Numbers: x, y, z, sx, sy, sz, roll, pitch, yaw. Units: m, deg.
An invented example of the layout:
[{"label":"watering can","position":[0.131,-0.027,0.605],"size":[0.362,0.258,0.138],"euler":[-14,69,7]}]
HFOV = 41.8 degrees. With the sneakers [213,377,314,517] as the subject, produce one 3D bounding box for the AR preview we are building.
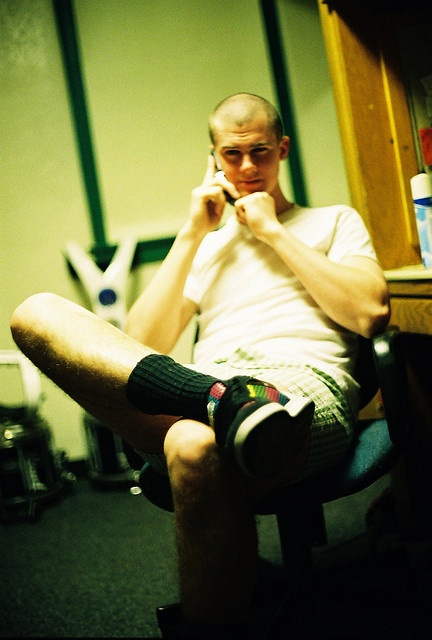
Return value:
[{"label":"sneakers","position":[0.069,0.151,0.781],"size":[0.154,0.104,0.107],"euler":[-8,4,-4]}]
